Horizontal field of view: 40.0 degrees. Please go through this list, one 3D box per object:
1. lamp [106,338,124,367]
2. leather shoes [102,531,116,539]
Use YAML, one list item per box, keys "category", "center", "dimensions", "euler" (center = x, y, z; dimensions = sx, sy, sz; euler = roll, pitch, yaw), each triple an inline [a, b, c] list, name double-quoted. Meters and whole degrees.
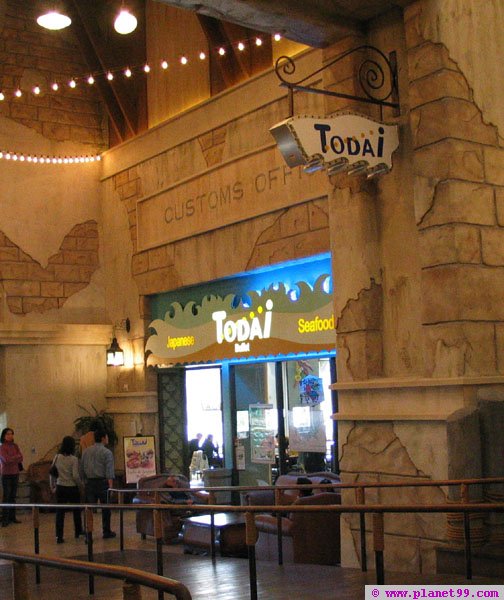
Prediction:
- category: "lamp"
  center: [-2.440, 0.949, 12.360]
  dimensions: [0.309, 0.534, 0.470]
  euler: [4, -9, -35]
- category: "leather shoes"
  center: [-1.760, 2.924, 8.564]
  dimensions: [0.149, 0.089, 0.226]
  euler: [0, -8, -11]
